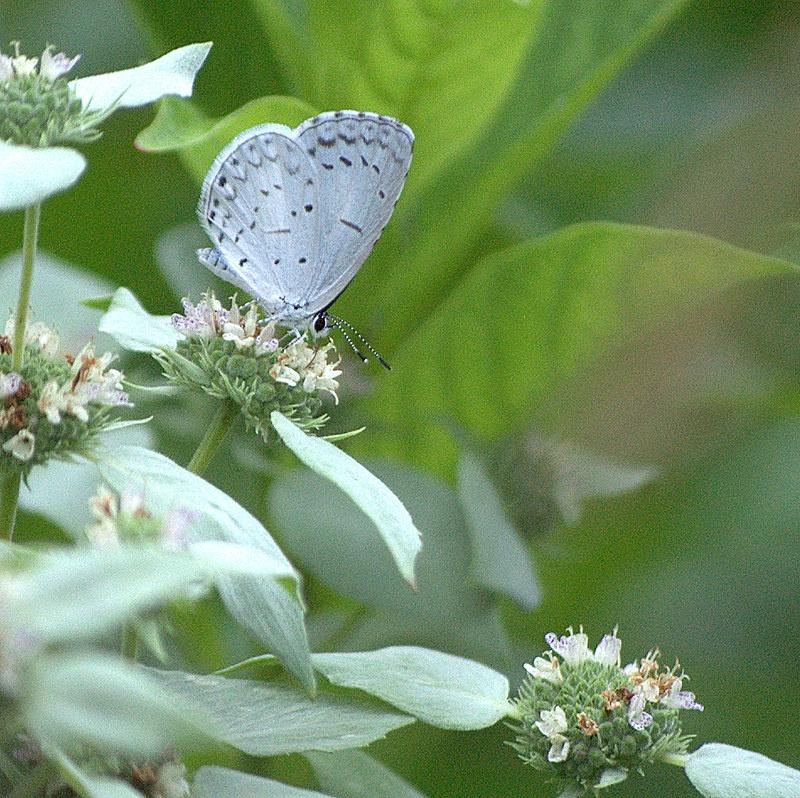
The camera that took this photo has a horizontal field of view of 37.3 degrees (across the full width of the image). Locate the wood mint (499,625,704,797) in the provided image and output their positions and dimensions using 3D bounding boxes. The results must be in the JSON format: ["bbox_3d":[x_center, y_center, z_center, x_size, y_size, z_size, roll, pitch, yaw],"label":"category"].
[{"bbox_3d":[0.231,0.319,1.325,0.220,0.143,0.211,0,-7,1],"label":"wood mint"}]
